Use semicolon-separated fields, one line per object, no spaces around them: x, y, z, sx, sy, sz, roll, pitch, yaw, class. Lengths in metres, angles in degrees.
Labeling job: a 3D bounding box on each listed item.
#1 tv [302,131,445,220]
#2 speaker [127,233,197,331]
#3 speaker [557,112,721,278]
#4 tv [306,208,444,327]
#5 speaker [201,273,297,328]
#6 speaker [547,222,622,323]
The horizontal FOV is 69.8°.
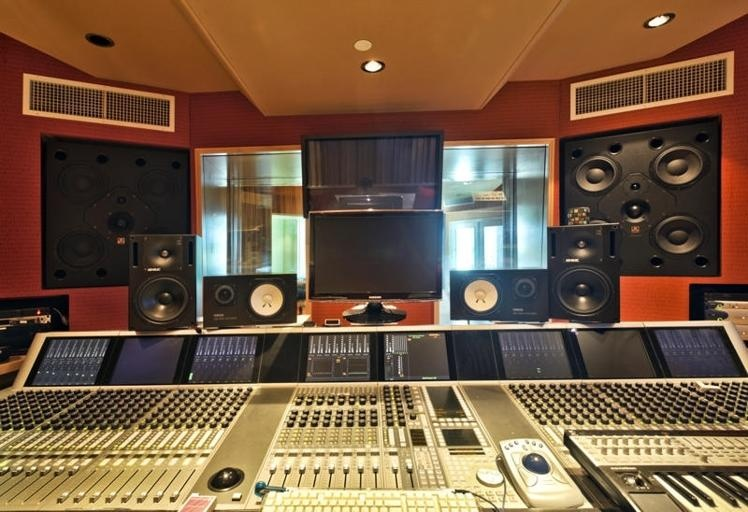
-0.039;-0.663;4.497;1.228;0.133;0.684;-4;-79;-20;tv
-1.469;0.167;3.586;0.398;0.481;0.630;-3;-92;41;speaker
2.144;-0.469;4.212;1.415;0.533;1.368;-1;-92;19;speaker
0.011;0.056;3.961;0.958;0.404;0.763;0;-87;-2;tv
-0.837;0.278;3.620;0.587;0.325;0.333;-1;-87;-17;speaker
1.367;0.111;3.634;0.499;0.412;0.628;0;-93;-1;speaker
